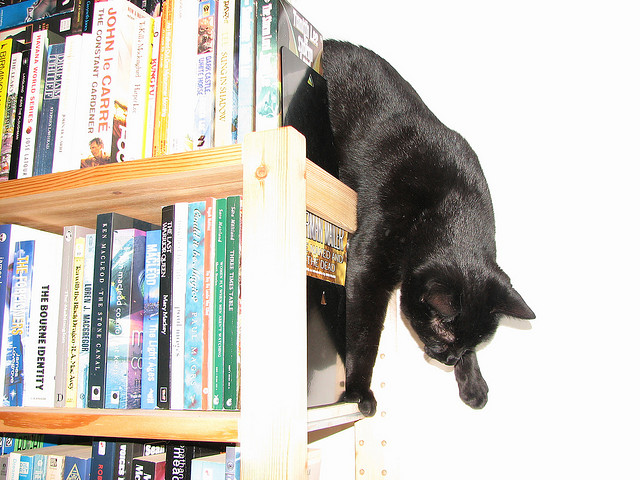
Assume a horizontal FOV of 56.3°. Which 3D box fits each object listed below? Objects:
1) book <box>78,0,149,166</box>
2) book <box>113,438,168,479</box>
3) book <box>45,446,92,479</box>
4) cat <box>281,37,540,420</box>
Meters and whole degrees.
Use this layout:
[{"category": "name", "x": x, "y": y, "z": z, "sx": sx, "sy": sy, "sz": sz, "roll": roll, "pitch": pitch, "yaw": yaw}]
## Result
[{"category": "book", "x": -0.495, "y": -0.362, "z": 1.396, "sx": 0.133, "sy": 0.367, "sz": 0.177, "roll": 12, "pitch": -30, "yaw": -19}, {"category": "book", "x": -0.406, "y": 0.490, "z": 1.341, "sx": 0.043, "sy": 0.117, "sz": 0.122, "roll": -20, "pitch": -19, "yaw": 26}, {"category": "book", "x": -0.617, "y": 0.522, "z": 1.454, "sx": 0.103, "sy": 0.042, "sz": 0.111, "roll": -4, "pitch": 7, "yaw": -32}, {"category": "cat", "x": 0.206, "y": -0.113, "z": 1.681, "sx": 0.478, "sy": 1.040, "sz": 0.460, "roll": -8, "pitch": -23, "yaw": -24}]
